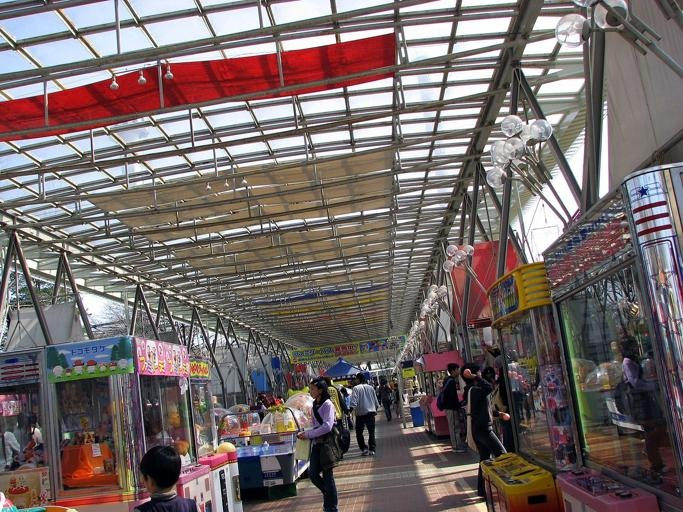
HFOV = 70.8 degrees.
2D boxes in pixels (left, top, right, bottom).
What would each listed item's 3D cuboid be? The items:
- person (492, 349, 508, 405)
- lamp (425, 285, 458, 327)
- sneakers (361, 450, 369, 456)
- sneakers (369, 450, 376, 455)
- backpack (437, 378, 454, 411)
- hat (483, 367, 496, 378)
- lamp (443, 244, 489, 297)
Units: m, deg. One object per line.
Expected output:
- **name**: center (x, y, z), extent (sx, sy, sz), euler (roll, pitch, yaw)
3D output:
- **person**: center (2.938, 2.277, 8.858), extent (0.320, 1.108, 0.260), euler (-10, 19, 3)
- **lamp**: center (3.909, 1.897, 19.364), extent (1.786, 1.804, 0.647), euler (3, 17, 33)
- **sneakers**: center (0.767, 6.338, 15.475), extent (0.242, 0.144, 0.553), euler (-7, -18, -3)
- **sneakers**: center (1.000, 6.335, 15.468), extent (0.142, 0.087, 0.143), euler (-5, -7, 24)
- **backpack**: center (2.478, 3.308, 11.602), extent (0.414, 0.723, 0.754), euler (-9, -18, 2)
- **hat**: center (2.756, 2.173, 9.032), extent (0.231, 0.177, 0.330), euler (-5, -39, 15)
- **lamp**: center (3.818, 0.306, 15.258), extent (0.893, 1.970, 2.640), euler (-14, -18, 17)
